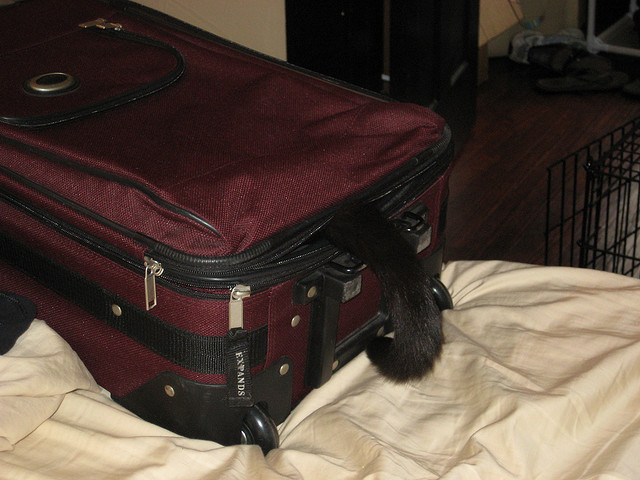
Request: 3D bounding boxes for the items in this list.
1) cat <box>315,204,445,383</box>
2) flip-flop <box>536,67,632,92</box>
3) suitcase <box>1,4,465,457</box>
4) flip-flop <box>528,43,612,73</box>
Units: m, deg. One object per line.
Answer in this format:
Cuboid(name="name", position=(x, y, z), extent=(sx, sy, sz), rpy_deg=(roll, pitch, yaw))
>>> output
Cuboid(name="cat", position=(0.109, 0.100, 0.948), extent=(0.090, 0.293, 0.215), rpy_deg=(-40, 9, 18))
Cuboid(name="flip-flop", position=(1.167, -0.700, 2.675), extent=(0.361, 0.067, 0.158), rpy_deg=(-8, 29, 3))
Cuboid(name="suitcase", position=(-0.346, -0.015, 1.184), extent=(0.907, 0.376, 0.650), rpy_deg=(30, 46, 23))
Cuboid(name="flip-flop", position=(1.125, -0.831, 2.791), extent=(0.334, 0.099, 0.176), rpy_deg=(17, 26, 32))
